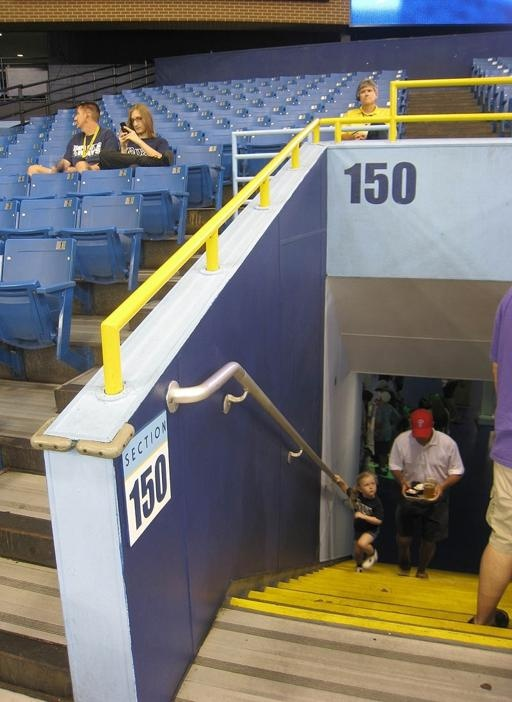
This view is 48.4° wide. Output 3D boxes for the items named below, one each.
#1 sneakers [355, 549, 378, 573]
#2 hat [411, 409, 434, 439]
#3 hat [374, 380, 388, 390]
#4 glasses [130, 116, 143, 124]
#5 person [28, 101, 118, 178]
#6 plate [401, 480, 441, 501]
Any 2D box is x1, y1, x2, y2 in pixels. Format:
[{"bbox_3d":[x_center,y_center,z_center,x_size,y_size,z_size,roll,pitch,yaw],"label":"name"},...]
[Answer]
[{"bbox_3d":[0.961,1.704,4.933,0.112,0.122,0.284,-5,-11,20],"label":"sneakers"},{"bbox_3d":[1.244,0.502,4.315,0.154,0.222,0.229,4,0,17],"label":"hat"},{"bbox_3d":[1.938,0.455,8.819,0.147,0.197,0.067,20,-11,35],"label":"hat"},{"bbox_3d":[-1.015,-1.929,4.848,0.068,0.072,0.022,10,-23,-7],"label":"glasses"},{"bbox_3d":[-1.573,-1.839,5.052,0.708,0.769,0.648,-6,4,-27],"label":"person"},{"bbox_3d":[1.160,0.925,4.108,0.208,0.157,0.064,-2,6,27],"label":"plate"}]
